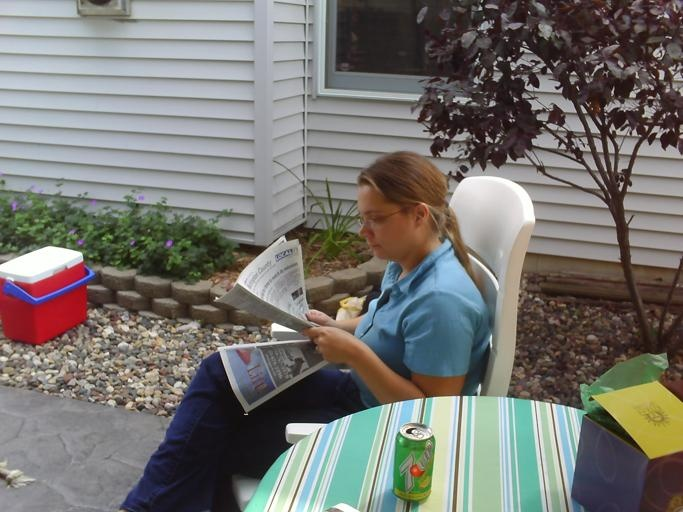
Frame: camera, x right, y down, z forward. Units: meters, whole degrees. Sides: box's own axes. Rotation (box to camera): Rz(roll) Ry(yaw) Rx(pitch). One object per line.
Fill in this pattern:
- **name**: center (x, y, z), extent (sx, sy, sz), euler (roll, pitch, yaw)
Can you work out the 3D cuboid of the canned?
- **canned**: center (0.184, 0.529, 1.468), extent (0.098, 0.172, 0.100), euler (4, 8, 7)
